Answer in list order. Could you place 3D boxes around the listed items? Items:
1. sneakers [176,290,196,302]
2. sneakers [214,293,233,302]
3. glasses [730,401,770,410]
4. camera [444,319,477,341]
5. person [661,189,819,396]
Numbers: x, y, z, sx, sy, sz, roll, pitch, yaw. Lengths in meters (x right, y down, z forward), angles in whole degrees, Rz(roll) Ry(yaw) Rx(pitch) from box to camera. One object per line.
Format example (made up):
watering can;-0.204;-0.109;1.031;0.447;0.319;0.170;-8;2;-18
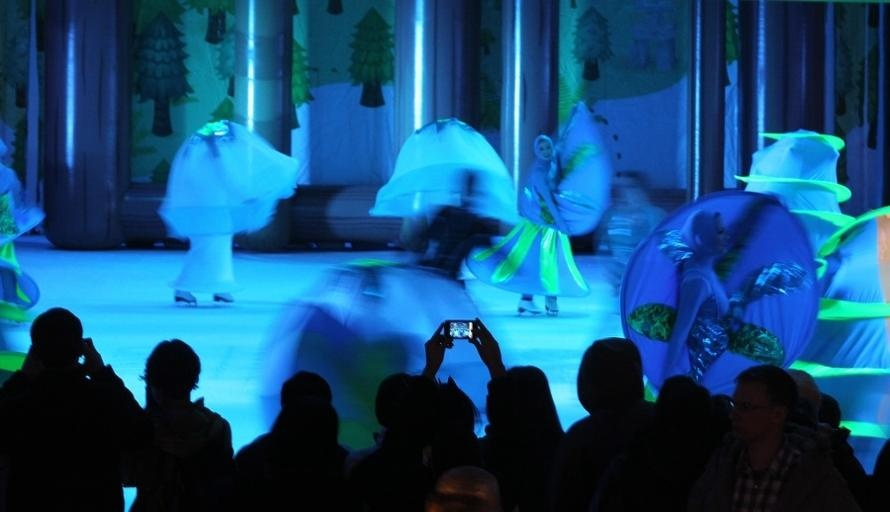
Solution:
sneakers;-2.095;0.323;7.777;0.150;0.094;0.083;7;6;1
sneakers;-1.819;0.345;7.894;0.125;0.062;0.073;6;13;-9
glasses;1.586;0.781;4.984;0.158;0.041;0.016;3;8;11
camera;0.082;0.409;5.299;0.159;0.100;0.083;1;7;-6
person;1.821;0.154;6.137;1.275;1.097;0.378;8;9;-2
